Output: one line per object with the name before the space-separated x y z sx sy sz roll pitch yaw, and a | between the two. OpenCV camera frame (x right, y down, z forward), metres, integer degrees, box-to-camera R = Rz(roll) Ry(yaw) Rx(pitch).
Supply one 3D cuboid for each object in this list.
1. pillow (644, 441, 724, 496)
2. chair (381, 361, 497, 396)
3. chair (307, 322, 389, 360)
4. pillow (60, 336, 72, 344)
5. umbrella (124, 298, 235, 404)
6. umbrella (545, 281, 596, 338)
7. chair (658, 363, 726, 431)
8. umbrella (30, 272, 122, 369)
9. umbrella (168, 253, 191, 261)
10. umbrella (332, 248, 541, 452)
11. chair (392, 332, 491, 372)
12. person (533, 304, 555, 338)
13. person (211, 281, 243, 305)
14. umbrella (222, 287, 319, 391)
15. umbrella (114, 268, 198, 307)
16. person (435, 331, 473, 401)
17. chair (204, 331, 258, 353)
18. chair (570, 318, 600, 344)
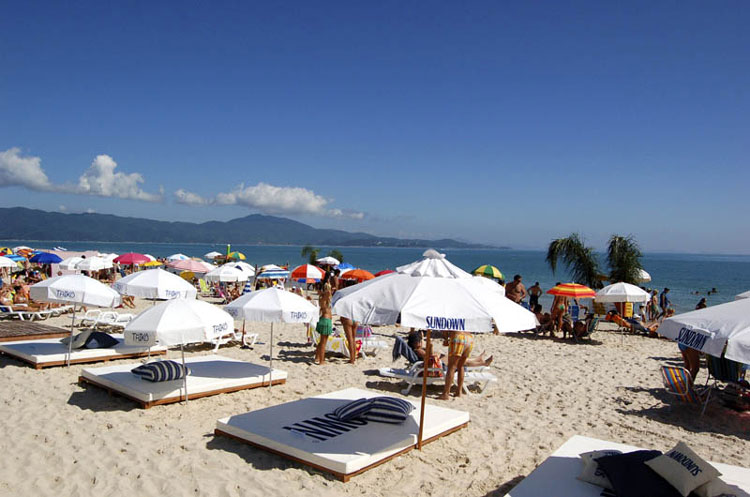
pillow | 4.341 3.097 7.512 0.679 0.205 0.636 -27 23 -11
chair | 1.446 2.850 11.872 2.066 0.540 1.020 2 -7 1
chair | -0.483 2.535 14.601 1.114 0.692 1.748 3 6 28
pillow | -7.528 2.247 13.040 0.239 0.083 0.236 10 9 2
umbrella | -4.036 2.152 11.095 2.192 2.220 2.093 0 5 20
umbrella | 6.664 1.884 17.821 1.473 1.565 1.437 -1 14 31
chair | 6.984 3.068 11.419 1.533 1.070 0.704 1 -12 -32
umbrella | -7.160 1.670 13.334 2.055 2.265 2.102 13 3 7
umbrella | -16.709 0.700 45.552 1.658 0.682 1.643 3 -4 -30
umbrella | 0.850 1.203 9.268 2.657 2.155 2.639 3 5 -10
chair | 1.472 2.515 12.487 2.200 0.768 0.734 2 2 2
person | 5.815 2.512 18.497 0.784 1.044 0.671 -11 1 -5
person | -6.469 1.932 23.189 1.041 0.913 1.556 1 2 -5
umbrella | -2.330 2.009 12.100 1.925 2.037 1.947 2 -2 43
umbrella | -5.479 0.910 13.223 1.274 0.536 1.283 2 3 36
person | 1.747 2.082 11.388 0.551 2.091 0.688 14 -17 -20
chair | -3.879 2.573 14.823 0.710 0.326 1.185 6 8 41
chair | 6.867 2.655 17.459 0.690 0.855 0.859 2 0 4
